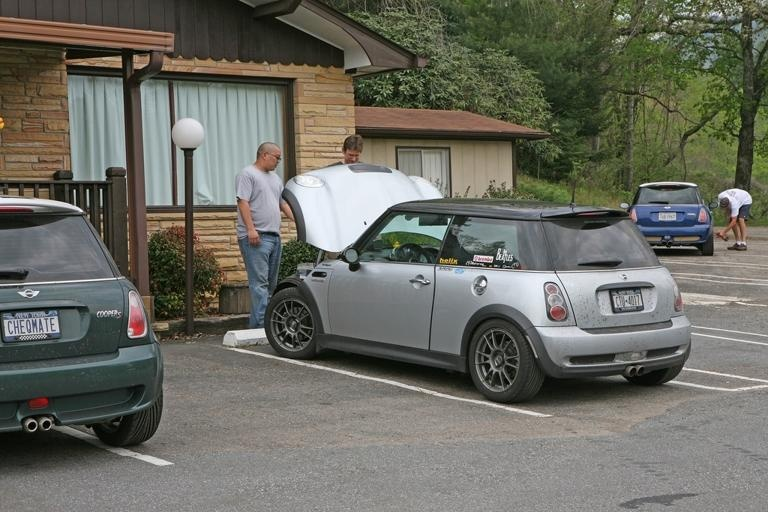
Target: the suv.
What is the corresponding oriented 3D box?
[{"bbox_3d":[8.221,-1.059,22.302,2.200,1.641,3.664,0,8,7],"label":"suv"}]
